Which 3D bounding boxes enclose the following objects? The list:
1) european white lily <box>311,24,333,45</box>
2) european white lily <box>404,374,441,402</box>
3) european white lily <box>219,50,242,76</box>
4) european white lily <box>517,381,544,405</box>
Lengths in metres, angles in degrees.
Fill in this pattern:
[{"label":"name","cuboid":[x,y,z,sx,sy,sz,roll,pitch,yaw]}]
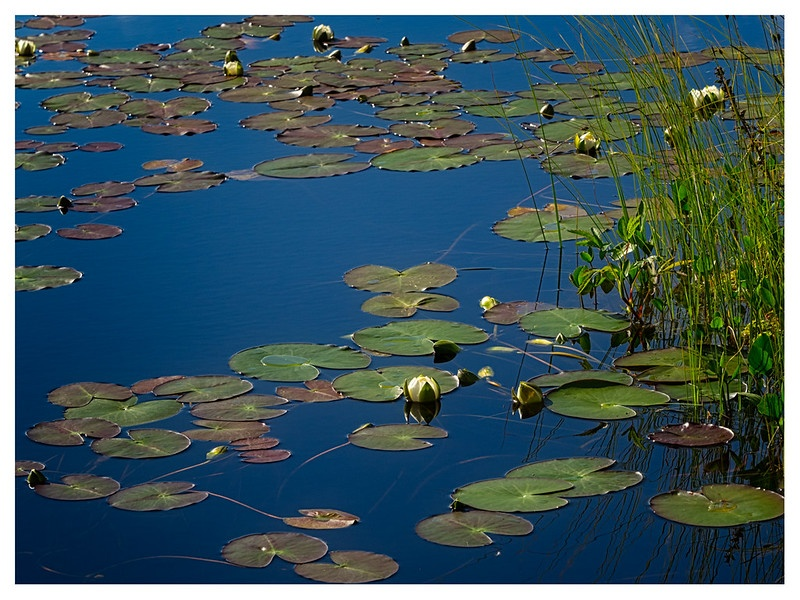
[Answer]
[{"label":"european white lily","cuboid":[-0.685,-2.363,7.402,0.200,0.202,0.218,-2,7,-4]},{"label":"european white lily","cuboid":[0.092,0.371,3.433,0.152,0.117,0.126,-1,7,1]},{"label":"european white lily","cuboid":[-1.364,-1.923,6.754,0.171,0.253,0.258,-3,7,-9]},{"label":"european white lily","cuboid":[0.534,0.387,3.399,0.112,0.093,0.048,-1,8,4]}]
